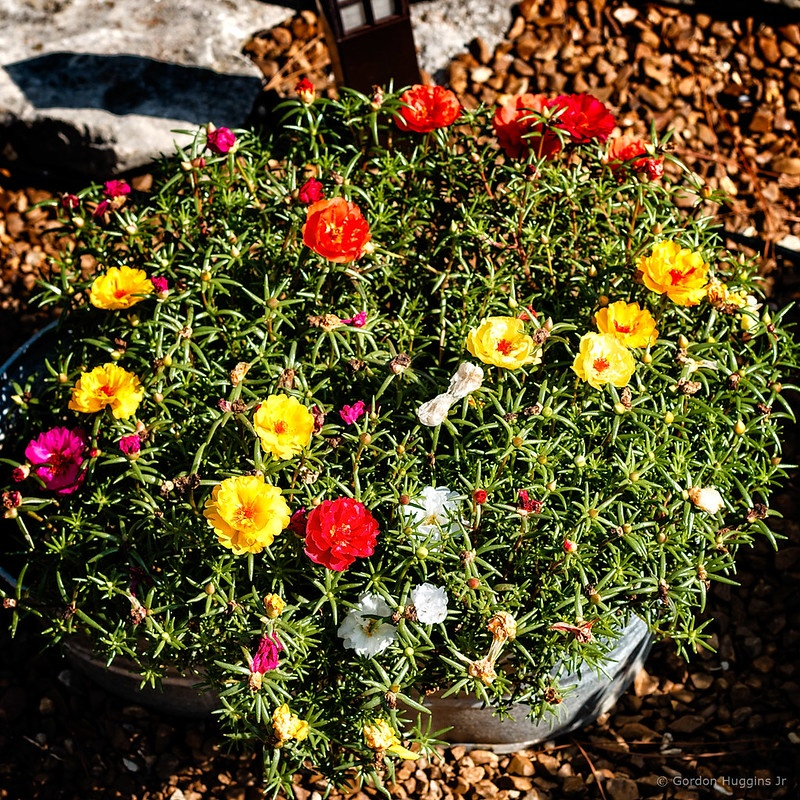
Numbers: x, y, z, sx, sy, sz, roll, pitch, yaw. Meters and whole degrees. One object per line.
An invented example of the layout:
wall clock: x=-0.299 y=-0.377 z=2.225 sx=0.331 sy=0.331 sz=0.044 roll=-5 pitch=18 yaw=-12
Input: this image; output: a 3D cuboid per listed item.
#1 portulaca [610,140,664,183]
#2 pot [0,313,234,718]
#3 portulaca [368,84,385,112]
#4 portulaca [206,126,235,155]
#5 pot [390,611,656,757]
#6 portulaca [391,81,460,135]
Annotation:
portulaca: x=0.572 y=-0.596 z=2.373 sx=0.147 sy=0.071 sz=0.126 roll=-5 pitch=90 yaw=16
pot: x=-0.904 y=0.463 z=3.158 sx=1.130 sy=0.441 sz=1.081 roll=2 pitch=66 yaw=-4
portulaca: x=-0.059 y=-0.749 z=2.421 sx=0.044 sy=0.029 sz=0.067 roll=-3 pitch=103 yaw=-4
portulaca: x=-0.430 y=-0.626 z=2.353 sx=0.070 sy=0.092 sz=0.072 roll=-3 pitch=71 yaw=-8
pot: x=0.394 y=0.866 z=2.726 sx=0.626 sy=0.558 sz=0.241 roll=-14 pitch=104 yaw=24
portulaca: x=0.064 y=-0.708 z=2.364 sx=0.147 sy=0.067 sz=0.117 roll=21 pitch=90 yaw=17
